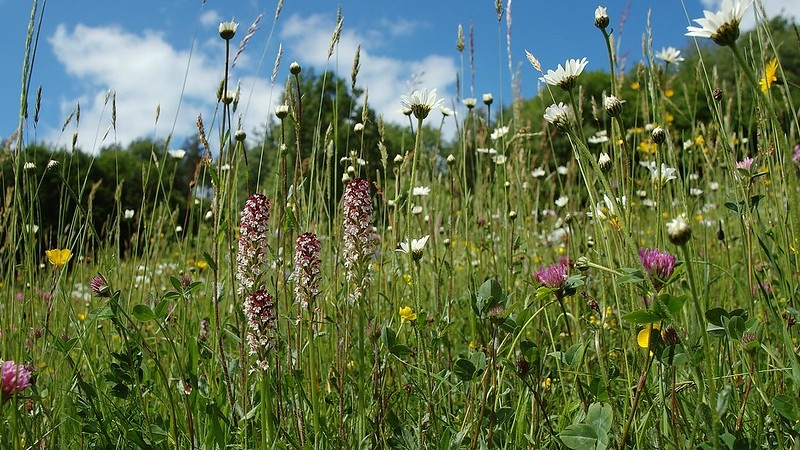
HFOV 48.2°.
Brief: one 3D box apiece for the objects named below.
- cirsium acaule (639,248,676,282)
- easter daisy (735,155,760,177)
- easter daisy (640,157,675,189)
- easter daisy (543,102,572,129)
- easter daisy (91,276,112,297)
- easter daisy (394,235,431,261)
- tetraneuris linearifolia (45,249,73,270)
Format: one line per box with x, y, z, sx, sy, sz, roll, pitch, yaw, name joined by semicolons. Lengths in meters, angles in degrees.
1.916;0.292;6.649;0.221;0.288;0.230;4;-9;-22;cirsium acaule
2.829;-0.467;7.277;0.230;0.164;0.234;-5;3;-35;easter daisy
2.439;-0.486;8.489;0.305;0.215;0.316;23;-15;32;easter daisy
1.235;-0.881;6.979;0.193;0.238;0.135;-20;15;2;easter daisy
-2.378;0.483;7.112;0.113;0.210;0.449;2;-9;-31;easter daisy
0.088;0.166;7.443;0.208;0.141;0.233;-8;-14;10;easter daisy
-2.835;0.279;7.457;0.198;0.174;0.267;0;-8;-22;tetraneuris linearifolia
